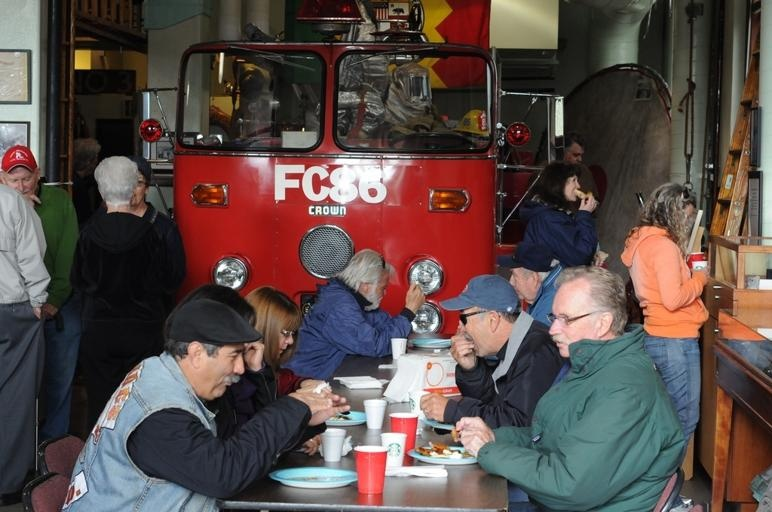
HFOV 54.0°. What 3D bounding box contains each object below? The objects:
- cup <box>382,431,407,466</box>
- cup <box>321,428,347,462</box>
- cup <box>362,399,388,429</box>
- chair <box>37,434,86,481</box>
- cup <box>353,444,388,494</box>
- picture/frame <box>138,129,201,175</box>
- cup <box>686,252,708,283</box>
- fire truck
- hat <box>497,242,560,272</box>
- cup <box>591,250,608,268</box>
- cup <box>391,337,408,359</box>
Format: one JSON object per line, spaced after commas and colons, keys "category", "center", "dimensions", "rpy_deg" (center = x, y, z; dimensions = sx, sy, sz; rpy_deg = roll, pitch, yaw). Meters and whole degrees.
{"category": "cup", "center": [0.049, 1.023, 4.086], "dimensions": [0.149, 0.162, 0.150], "rpy_deg": [0, 1, 0]}
{"category": "cup", "center": [-0.285, 1.032, 4.138], "dimensions": [0.152, 0.165, 0.157], "rpy_deg": [3, -2, 0]}
{"category": "cup", "center": [-0.060, 0.938, 4.572], "dimensions": [0.151, 0.170, 0.158], "rpy_deg": [2, 3, 0]}
{"category": "chair", "center": [-1.786, 1.080, 4.203], "dimensions": [0.222, 0.302, 0.204], "rpy_deg": [10, 8, 29]}
{"category": "cup", "center": [-0.069, 1.064, 3.809], "dimensions": [0.210, 0.231, 0.204], "rpy_deg": [2, -5, 0]}
{"category": "picture/frame", "center": [-2.134, -1.030, 7.530], "dimensions": [0.403, 0.555, 0.782], "rpy_deg": [3, 5, 2]}
{"category": "cup", "center": [2.627, 0.083, 6.396], "dimensions": [0.215, 0.311, 0.210], "rpy_deg": [2, 0, 0]}
{"category": "fire truck", "center": [-0.395, -0.613, 7.505], "dimensions": [2.530, 2.238, 3.702], "rpy_deg": [0, 1, 5]}
{"category": "hat", "center": [1.101, 0.019, 5.910], "dimensions": [0.334, 0.133, 0.227], "rpy_deg": [4, 8, 15]}
{"category": "cup", "center": [2.126, 0.029, 7.520], "dimensions": [0.087, 0.095, 0.268], "rpy_deg": [-29, 1, 33]}
{"category": "cup", "center": [0.113, 0.725, 5.974], "dimensions": [0.122, 0.141, 0.150], "rpy_deg": [1, 4, 0]}
